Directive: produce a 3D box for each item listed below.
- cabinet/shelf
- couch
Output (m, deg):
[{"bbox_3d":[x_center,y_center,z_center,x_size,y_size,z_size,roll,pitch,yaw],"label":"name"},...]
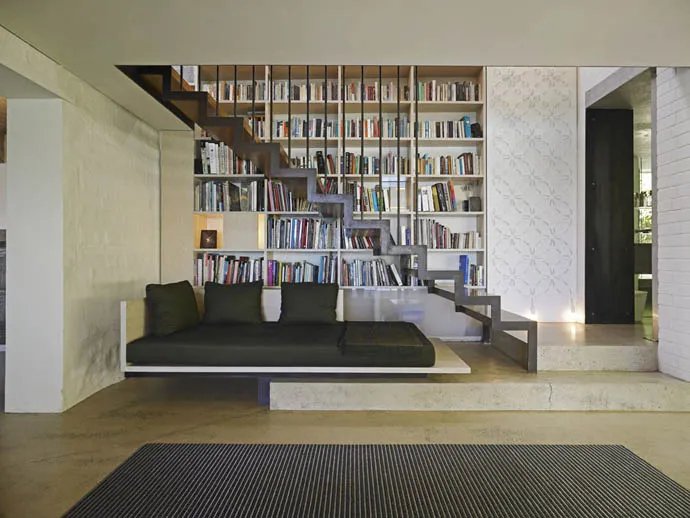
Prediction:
[{"bbox_3d":[-0.115,-0.724,6.203,3.068,2.808,0.995,1,-3,-3],"label":"cabinet/shelf"},{"bbox_3d":[-0.699,0.551,4.989,2.446,0.735,1.322,0,0,-6],"label":"couch"}]
